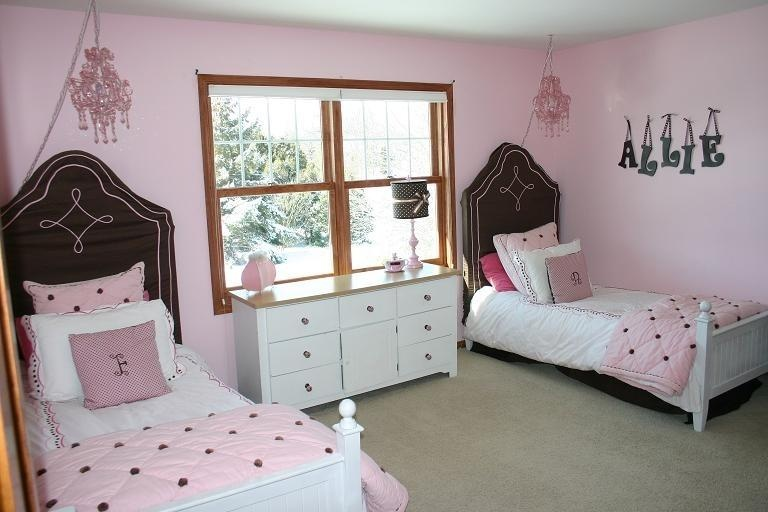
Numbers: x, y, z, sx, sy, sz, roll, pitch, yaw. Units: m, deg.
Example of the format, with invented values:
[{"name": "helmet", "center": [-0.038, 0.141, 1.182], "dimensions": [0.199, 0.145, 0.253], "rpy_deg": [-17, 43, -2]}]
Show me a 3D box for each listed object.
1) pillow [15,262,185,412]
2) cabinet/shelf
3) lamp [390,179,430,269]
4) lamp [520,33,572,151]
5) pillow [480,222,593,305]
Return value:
[{"name": "pillow", "center": [-1.902, 0.565, 3.532], "dimensions": [0.896, 0.700, 0.890], "rpy_deg": [-9, 12, -35]}, {"name": "cabinet/shelf", "center": [-0.258, 0.755, 4.754], "dimensions": [2.007, 1.034, 0.673], "rpy_deg": [-7, 11, -31]}, {"name": "lamp", "center": [0.258, -0.307, 5.070], "dimensions": [0.346, 0.854, 0.433], "rpy_deg": [-2, 10, 1]}, {"name": "lamp", "center": [1.699, -1.708, 5.486], "dimensions": [0.511, 1.064, 1.148], "rpy_deg": [1, 10, 20]}, {"name": "pillow", "center": [1.484, 0.154, 5.116], "dimensions": [0.846, 0.798, 0.250], "rpy_deg": [-5, -18, -36]}]
